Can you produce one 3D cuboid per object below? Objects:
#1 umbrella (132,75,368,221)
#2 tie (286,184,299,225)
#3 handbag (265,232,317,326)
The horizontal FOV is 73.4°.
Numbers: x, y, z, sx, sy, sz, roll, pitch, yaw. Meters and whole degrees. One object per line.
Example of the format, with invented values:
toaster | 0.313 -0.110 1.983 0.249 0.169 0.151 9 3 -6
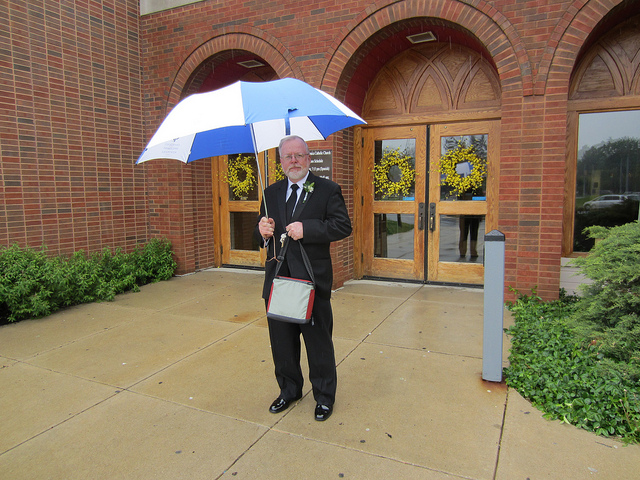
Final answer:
umbrella | -0.631 -0.892 4.062 1.936 1.310 1.228 -7 15 -22
tie | -0.268 -0.335 4.058 0.085 0.376 0.097 7 -1 4
handbag | -0.273 0.375 3.864 0.465 0.864 0.354 1 14 8
